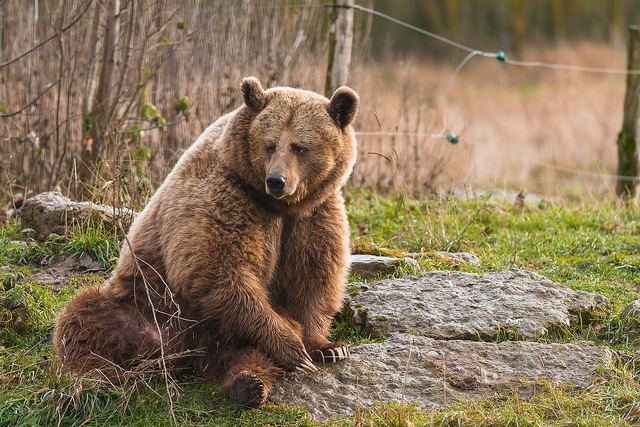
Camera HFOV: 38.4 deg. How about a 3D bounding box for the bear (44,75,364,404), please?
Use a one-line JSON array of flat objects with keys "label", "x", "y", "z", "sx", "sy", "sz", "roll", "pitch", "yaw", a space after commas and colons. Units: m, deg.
[{"label": "bear", "x": -1.351, "y": 0.379, "z": 10.751, "sx": 3.302, "sy": 3.574, "sz": 3.412, "roll": -5, "pitch": -10, "yaw": 23}]
